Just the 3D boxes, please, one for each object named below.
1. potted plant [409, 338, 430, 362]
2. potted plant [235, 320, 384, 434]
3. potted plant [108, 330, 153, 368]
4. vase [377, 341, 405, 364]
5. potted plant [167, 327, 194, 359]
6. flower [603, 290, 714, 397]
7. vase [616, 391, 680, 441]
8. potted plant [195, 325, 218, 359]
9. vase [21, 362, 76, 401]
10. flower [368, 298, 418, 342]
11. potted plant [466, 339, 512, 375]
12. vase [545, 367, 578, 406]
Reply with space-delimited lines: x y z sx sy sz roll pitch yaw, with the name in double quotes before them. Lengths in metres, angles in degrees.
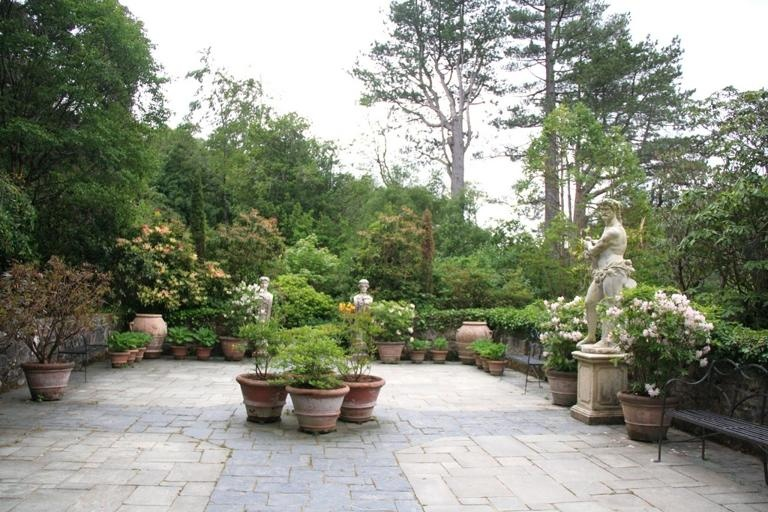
"potted plant" 0.868 2.550 15.431 0.613 0.642 0.530 2 -10 -3
"potted plant" -1.189 2.006 9.562 1.814 1.406 1.805 1 -7 0
"potted plant" -5.721 2.141 13.277 0.713 0.508 0.790 -1 -2 21
"vase" 0.184 2.517 15.060 0.568 0.422 0.586 -6 -8 35
"potted plant" -5.060 2.266 14.883 0.713 0.719 0.707 3 -10 -20
"flower" 4.167 1.373 8.733 1.137 1.396 1.313 15 -13 -27
"vase" 3.819 2.399 8.611 0.685 0.524 0.702 3 -8 -2
"potted plant" -4.439 2.257 14.901 0.701 0.801 0.691 1 -11 -4
"vase" -5.829 2.212 10.264 0.823 0.627 0.843 -5 -7 30
"flower" 0.287 1.731 15.283 1.214 1.262 0.985 3 -10 -13
"potted plant" 2.541 2.404 13.832 0.635 0.658 0.912 0 -3 -2
"vase" 3.169 2.414 10.584 0.577 0.520 0.576 3 -8 -25
